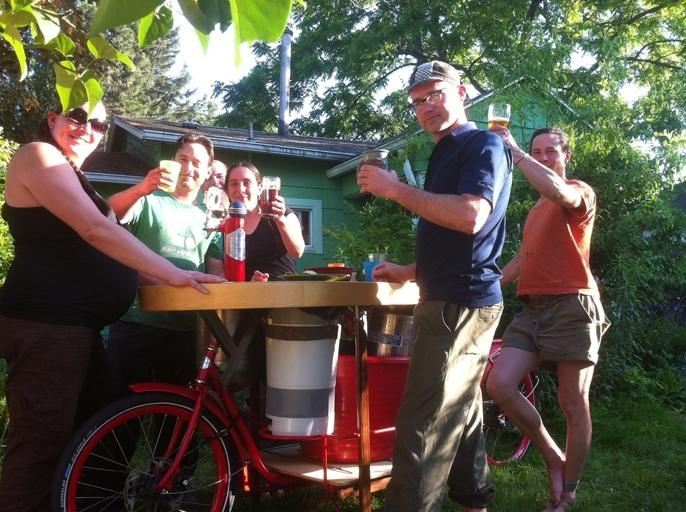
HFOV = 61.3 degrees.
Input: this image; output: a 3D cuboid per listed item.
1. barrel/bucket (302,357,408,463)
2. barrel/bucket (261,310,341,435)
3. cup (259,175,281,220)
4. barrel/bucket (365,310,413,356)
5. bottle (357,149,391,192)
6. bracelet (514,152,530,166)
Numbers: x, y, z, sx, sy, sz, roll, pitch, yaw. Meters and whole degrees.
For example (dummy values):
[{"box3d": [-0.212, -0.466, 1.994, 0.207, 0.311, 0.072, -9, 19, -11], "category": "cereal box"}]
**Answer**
[{"box3d": [0.041, 0.940, 3.582, 0.727, 0.609, 0.713, -1, -15, 0], "category": "barrel/bucket"}, {"box3d": [-0.242, 0.664, 3.266, 0.383, 0.621, 0.387, 1, 0, 0], "category": "barrel/bucket"}, {"box3d": [-0.414, -0.336, 3.265, 0.103, 0.216, 0.137, 3, -2, -10], "category": "cup"}, {"box3d": [0.265, 0.529, 3.931, 0.314, 0.390, 0.326, 2, -14, 0], "category": "barrel/bucket"}, {"box3d": [0.164, -0.469, 2.932, 0.130, 0.145, 0.115, -1, 0, -7], "category": "bottle"}, {"box3d": [1.098, -0.594, 3.565, 0.073, 0.076, 0.073, -35, -39, 15], "category": "bracelet"}]
